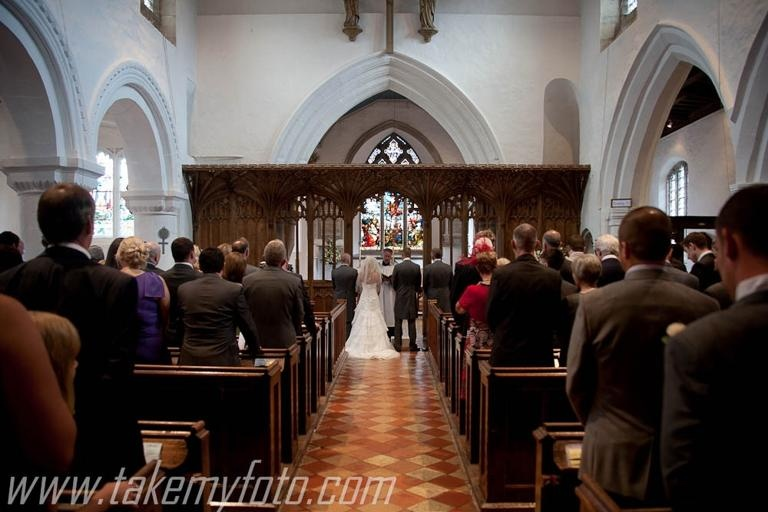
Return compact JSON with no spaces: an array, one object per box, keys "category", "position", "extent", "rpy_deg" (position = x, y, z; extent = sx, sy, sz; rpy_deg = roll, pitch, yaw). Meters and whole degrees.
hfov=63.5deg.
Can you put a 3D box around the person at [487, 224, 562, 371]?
[{"category":"person","position":[1.155,0.455,5.106],"extent":[0.602,0.949,0.208],"rpy_deg":[1,5,9]}]

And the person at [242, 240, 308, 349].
[{"category":"person","position":[-1.156,0.700,6.654],"extent":[0.573,1.814,0.581],"rpy_deg":[1,20,-4]}]

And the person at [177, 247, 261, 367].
[{"category":"person","position":[-1.428,0.441,5.350],"extent":[0.668,1.009,0.337],"rpy_deg":[-1,5,-13]}]

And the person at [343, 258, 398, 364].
[{"category":"person","position":[-0.234,0.830,10.341],"extent":[0.829,1.679,0.535],"rpy_deg":[0,5,-4]}]

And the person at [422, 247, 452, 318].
[{"category":"person","position":[0.902,0.371,10.240],"extent":[0.474,1.043,0.648],"rpy_deg":[0,5,-8]}]

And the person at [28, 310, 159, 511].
[{"category":"person","position":[-1.575,0.848,3.337],"extent":[0.399,1.432,0.887],"rpy_deg":[-5,-6,-23]}]
